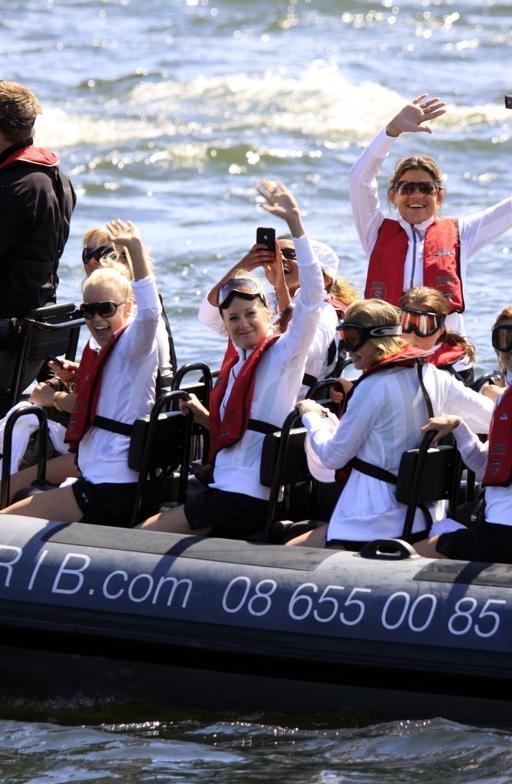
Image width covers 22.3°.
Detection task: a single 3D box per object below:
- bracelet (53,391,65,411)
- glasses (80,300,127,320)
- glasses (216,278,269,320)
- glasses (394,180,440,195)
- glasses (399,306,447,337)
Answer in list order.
[{"bbox_3d":[-0.838,0.043,5.478,0.069,0.079,0.031,1,0,-27],"label":"bracelet"},{"bbox_3d":[-0.603,-0.309,4.963,0.164,0.072,0.099,6,-1,-3],"label":"glasses"},{"bbox_3d":[-0.065,-0.347,4.705,0.120,0.072,0.147,-6,-45,9],"label":"glasses"},{"bbox_3d":[0.712,-0.900,5.780,0.190,0.061,0.085,6,-1,3],"label":"glasses"},{"bbox_3d":[0.626,-0.263,4.953,0.129,0.068,0.152,6,-1,24],"label":"glasses"}]
